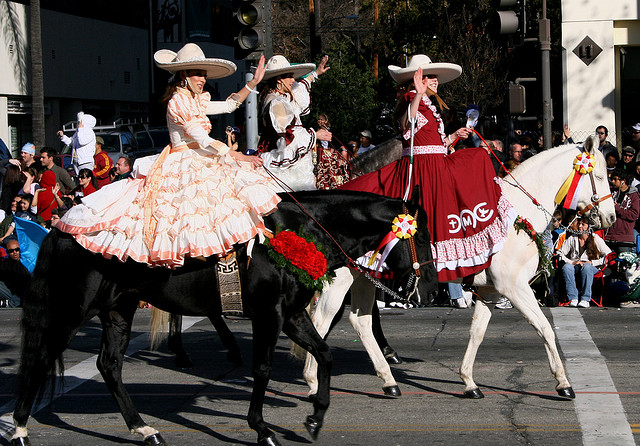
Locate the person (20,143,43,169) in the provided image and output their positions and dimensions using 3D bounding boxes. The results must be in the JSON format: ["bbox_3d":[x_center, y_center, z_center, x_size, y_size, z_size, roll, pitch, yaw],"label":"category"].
[{"bbox_3d":[-6.659,-1.553,21.859,0.632,0.725,0.774,2,-1,-13],"label":"person"}]

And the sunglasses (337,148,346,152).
[{"bbox_3d":[0.340,-1.214,15.727,0.145,0.046,0.138,0,-3,12],"label":"sunglasses"}]

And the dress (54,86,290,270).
[{"bbox_3d":[-1.871,-0.693,11.931,3.142,1.956,1.934,-8,14,0],"label":"dress"}]

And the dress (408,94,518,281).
[{"bbox_3d":[1.923,-0.498,13.004,1.452,2.388,0.911,2,10,21],"label":"dress"}]

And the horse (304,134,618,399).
[{"bbox_3d":[1.717,0.598,12.996,5.299,3.382,1.229,-1,-5,-16],"label":"horse"}]

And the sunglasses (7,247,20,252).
[{"bbox_3d":[-5.934,0.508,18.471,0.148,0.137,0.043,-8,46,-9],"label":"sunglasses"}]

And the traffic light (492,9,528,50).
[{"bbox_3d":[3.705,-3.790,18.668,0.603,0.742,1.212,1,10,14],"label":"traffic light"}]
